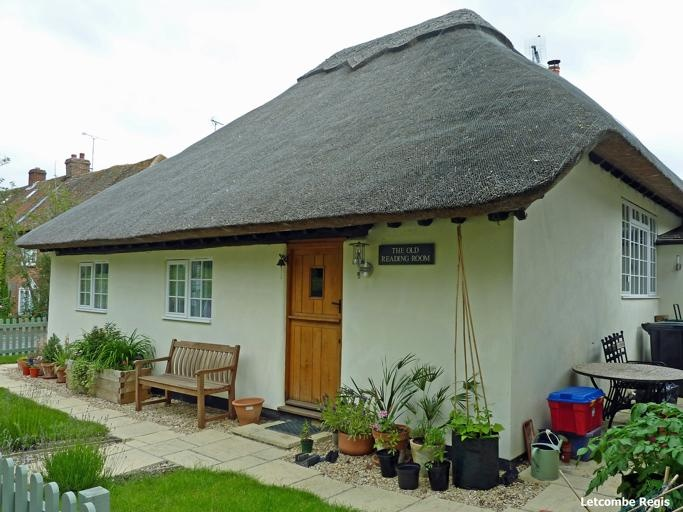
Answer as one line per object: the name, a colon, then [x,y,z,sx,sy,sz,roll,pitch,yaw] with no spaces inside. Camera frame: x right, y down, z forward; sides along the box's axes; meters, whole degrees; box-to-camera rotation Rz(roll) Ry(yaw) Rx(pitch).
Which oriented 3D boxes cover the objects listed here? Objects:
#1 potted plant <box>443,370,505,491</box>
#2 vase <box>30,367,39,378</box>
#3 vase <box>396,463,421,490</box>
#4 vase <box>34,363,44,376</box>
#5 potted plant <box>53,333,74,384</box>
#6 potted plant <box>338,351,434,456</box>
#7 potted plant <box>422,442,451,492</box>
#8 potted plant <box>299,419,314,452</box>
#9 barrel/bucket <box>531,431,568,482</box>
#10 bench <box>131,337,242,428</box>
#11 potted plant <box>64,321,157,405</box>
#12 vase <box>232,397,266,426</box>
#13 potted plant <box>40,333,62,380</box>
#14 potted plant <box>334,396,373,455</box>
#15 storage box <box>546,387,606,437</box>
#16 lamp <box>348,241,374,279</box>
potted plant: [1.867,2.441,8.526,0.723,1.411,0.697,1,8,13]
vase: [-6.968,2.656,13.898,0.204,0.167,0.208,4,-6,-17]
vase: [0.914,3.039,8.383,0.274,0.216,0.286,-1,-10,1]
vase: [-6.876,2.601,13.920,0.249,0.195,0.252,3,-6,-24]
potted plant: [-6.208,2.267,13.468,0.448,1.008,0.556,-11,8,-20]
potted plant: [0.734,2.253,9.385,1.336,0.979,1.332,-11,-16,43]
potted plant: [1.344,2.937,8.472,0.343,0.581,0.351,-2,-3,-39]
potted plant: [-0.543,2.760,9.531,0.210,0.432,0.845,-2,8,-5]
barrel/bucket: [2.862,2.815,8.676,0.564,0.677,0.451,-1,0,-28]
bench: [-2.856,2.292,11.191,1.995,1.359,0.913,-1,-3,39]
potted plant: [-4.731,2.192,12.632,1.926,1.296,1.335,4,-1,29]
vase: [-1.571,2.683,10.544,0.426,0.311,0.446,-1,-10,0]
potted plant: [-6.582,2.311,13.921,0.478,1.027,0.550,9,-15,-37]
potted plant: [0.233,2.653,9.456,0.614,0.851,0.634,3,-4,10]
storage box: [3.567,2.411,9.295,0.749,0.662,1.043,-7,-10,35]
lamp: [0.307,0.055,9.759,0.438,0.589,0.189,6,11,43]
